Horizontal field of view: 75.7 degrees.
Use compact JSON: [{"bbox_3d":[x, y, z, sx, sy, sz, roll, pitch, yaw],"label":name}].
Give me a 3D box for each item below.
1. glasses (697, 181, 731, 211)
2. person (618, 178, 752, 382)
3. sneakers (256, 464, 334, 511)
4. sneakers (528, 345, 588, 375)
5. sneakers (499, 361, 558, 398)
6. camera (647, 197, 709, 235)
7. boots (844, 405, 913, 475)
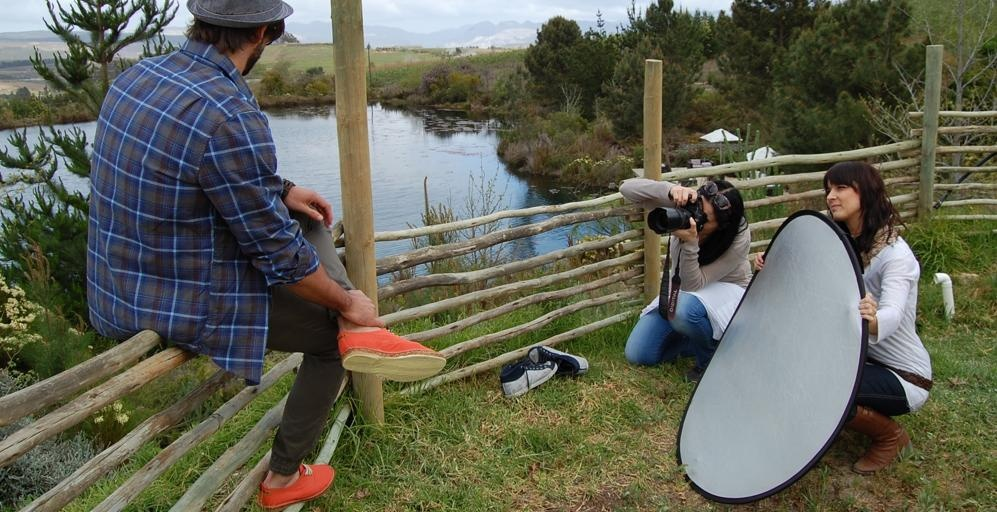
[{"bbox_3d":[2.025,-0.557,6.004,0.112,0.312,0.228,-44,64,-5],"label":"glasses"},{"bbox_3d":[1.883,0.177,6.360,1.145,1.866,0.707,5,22,20],"label":"person"},{"bbox_3d":[-1.670,1.891,5.311,0.593,0.226,0.291,-13,14,-37],"label":"sneakers"},{"bbox_3d":[0.617,1.034,6.473,0.704,0.237,0.273,10,25,5],"label":"sneakers"},{"bbox_3d":[0.268,1.154,6.334,0.629,0.270,0.240,-20,15,-15],"label":"sneakers"},{"bbox_3d":[1.665,-0.377,6.034,0.515,0.307,0.586,8,18,36],"label":"camera"},{"bbox_3d":[3.254,1.542,5.547,0.575,0.611,0.292,-44,31,-2],"label":"boots"}]
